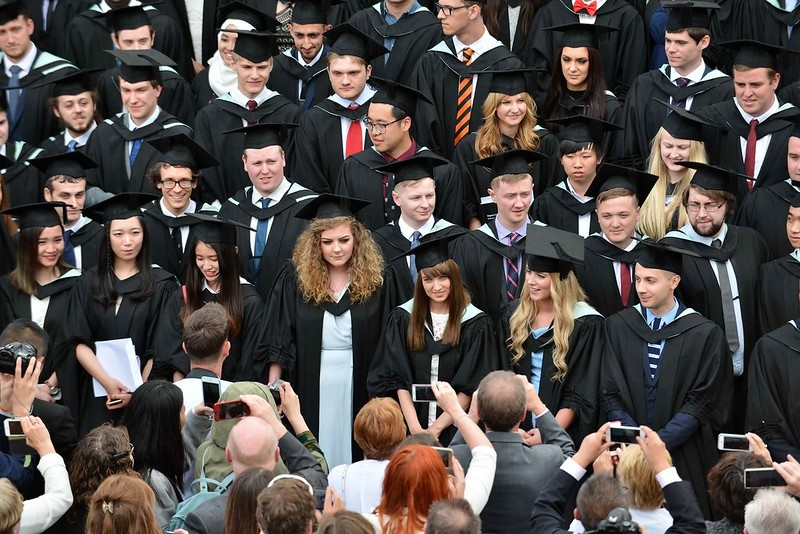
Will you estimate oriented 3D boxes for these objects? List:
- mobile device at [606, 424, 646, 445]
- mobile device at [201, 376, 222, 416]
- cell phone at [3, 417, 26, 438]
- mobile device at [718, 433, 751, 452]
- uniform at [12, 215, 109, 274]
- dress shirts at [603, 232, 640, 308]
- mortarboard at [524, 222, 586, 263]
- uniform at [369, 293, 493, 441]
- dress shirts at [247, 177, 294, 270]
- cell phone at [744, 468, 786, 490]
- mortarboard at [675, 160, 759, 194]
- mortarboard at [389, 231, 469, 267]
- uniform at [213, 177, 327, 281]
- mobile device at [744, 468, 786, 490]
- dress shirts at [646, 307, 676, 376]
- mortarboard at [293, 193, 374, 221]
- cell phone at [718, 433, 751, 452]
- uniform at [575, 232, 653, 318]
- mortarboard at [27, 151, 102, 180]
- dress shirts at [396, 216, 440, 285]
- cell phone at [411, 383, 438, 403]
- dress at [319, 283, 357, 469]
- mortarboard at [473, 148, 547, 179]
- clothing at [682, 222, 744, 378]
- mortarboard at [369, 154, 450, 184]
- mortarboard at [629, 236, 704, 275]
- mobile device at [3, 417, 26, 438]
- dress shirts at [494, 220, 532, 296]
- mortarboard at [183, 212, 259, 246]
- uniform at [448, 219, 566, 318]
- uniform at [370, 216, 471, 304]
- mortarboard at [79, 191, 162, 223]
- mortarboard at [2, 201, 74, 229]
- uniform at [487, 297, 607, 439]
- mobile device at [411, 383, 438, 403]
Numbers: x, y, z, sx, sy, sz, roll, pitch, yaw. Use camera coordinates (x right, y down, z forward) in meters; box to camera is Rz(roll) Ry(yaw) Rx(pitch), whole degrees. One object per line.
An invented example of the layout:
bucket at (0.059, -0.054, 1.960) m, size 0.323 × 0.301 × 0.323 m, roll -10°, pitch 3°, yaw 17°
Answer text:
mobile device at (1.555, 1.157, 6.427) m, size 0.235 × 0.131 × 0.258 m, roll 0°, pitch -9°, yaw 6°
mobile device at (-1.442, 0.956, 7.048) m, size 0.146 × 0.238 × 0.314 m, roll 3°, pitch -9°, yaw -12°
cell phone at (-2.767, 1.149, 6.626) m, size 0.292 × 0.140 × 0.127 m, roll -5°, pitch -10°, yaw 33°
mobile device at (2.343, 1.232, 6.488) m, size 0.199 × 0.118 × 0.221 m, roll -2°, pitch -9°, yaw 20°
uniform at (-3.697, -0.245, 10.186) m, size 0.722 × 0.922 × 0.499 m, roll -4°, pitch 0°, yaw -9°
dress shirts at (2.139, 0.001, 9.027) m, size 0.469 × 0.632 × 0.272 m, roll 5°, pitch -1°, yaw 5°
mortarboard at (1.427, -0.230, 8.524) m, size 0.516 × 0.401 × 0.313 m, roll 0°, pitch -8°, yaw 7°
uniform at (0.327, 1.093, 8.771) m, size 1.296 × 1.461 × 0.392 m, roll 5°, pitch 17°, yaw 7°
dress shirts at (-1.383, -0.557, 9.970) m, size 0.542 × 0.717 × 0.215 m, roll 1°, pitch -8°, yaw 17°
cell phone at (2.445, 1.397, 6.141) m, size 0.366 × 0.138 × 0.138 m, roll 5°, pitch -10°, yaw -28°
mortarboard at (3.043, -0.849, 8.968) m, size 0.441 × 0.157 × 0.441 m, roll 18°, pitch -3°, yaw -3°
mortarboard at (0.327, -0.154, 8.693) m, size 0.405 × 0.183 × 0.405 m, roll -21°, pitch -5°, yaw -2°
uniform at (-1.331, -0.354, 9.531) m, size 1.117 × 1.033 × 0.478 m, roll 1°, pitch -1°, yaw 6°
mobile device at (2.445, 1.397, 6.141) m, size 0.366 × 0.138 × 0.138 m, roll 5°, pitch -10°, yaw -28°
dress shirts at (2.313, 0.677, 8.195) m, size 0.379 × 0.527 × 0.208 m, roll 1°, pitch -1°, yaw 21°
mortarboard at (-0.683, -0.574, 9.249) m, size 0.511 × 0.288 × 0.621 m, roll 8°, pitch -11°, yaw -39°
cell phone at (2.343, 1.232, 6.488) m, size 0.199 × 0.118 × 0.221 m, roll -2°, pitch -9°, yaw 20°
uniform at (2.182, -0.009, 9.198) m, size 0.729 × 0.479 × 0.859 m, roll -13°, pitch -44°, yaw -1°
mortarboard at (-3.607, -1.111, 9.964) m, size 0.430 × 0.116 × 0.431 m, roll -3°, pitch -9°, yaw -13°
dress shirts at (0.164, -0.185, 9.319) m, size 0.445 × 0.607 × 0.182 m, roll -9°, pitch -3°, yaw 19°
cell phone at (0.198, 0.950, 7.023) m, size 0.119 × 0.112 × 0.314 m, roll 6°, pitch -10°, yaw -31°
dress at (-0.615, 1.160, 8.926) m, size 0.328 × 1.484 × 0.196 m, roll 2°, pitch -8°, yaw -4°
mortarboard at (1.105, -1.051, 9.310) m, size 0.425 × 0.100 × 0.425 m, roll -8°, pitch -11°, yaw 14°
clothing at (3.061, 0.315, 9.086) m, size 0.860 × 1.183 × 0.463 m, roll 1°, pitch 1°, yaw 8°
mortarboard at (0.090, -0.970, 9.383) m, size 0.451 × 0.192 × 0.435 m, roll -14°, pitch -9°, yaw 29°
mortarboard at (2.416, -0.067, 8.387) m, size 0.434 × 0.146 × 0.430 m, roll 18°, pitch -3°, yaw -33°
mobile device at (-2.771, 1.149, 6.629) m, size 0.301 × 0.140 × 0.127 m, roll -5°, pitch -10°, yaw 33°
dress shirts at (1.115, -0.063, 9.068) m, size 0.470 × 0.636 × 0.267 m, roll -1°, pitch 0°, yaw 5°
mortarboard at (-1.874, -0.377, 9.210) m, size 0.471 × 0.159 × 0.462 m, roll 11°, pitch 0°, yaw -11°
uniform at (0.918, -0.016, 9.498) m, size 1.439 × 1.401 × 0.821 m, roll -1°, pitch 3°, yaw -7°
uniform at (0.205, -0.040, 9.013) m, size 0.736 × 0.721 × 0.411 m, roll -12°, pitch -1°, yaw 6°
mortarboard at (-2.926, -0.593, 9.440) m, size 0.531 × 0.146 × 0.517 m, roll -17°, pitch -10°, yaw 19°
mortarboard at (-3.699, -0.516, 9.396) m, size 0.447 × 0.163 × 0.445 m, roll -6°, pitch 0°, yaw -13°
uniform at (1.305, 0.902, 8.014) m, size 1.150 × 1.563 × 0.652 m, roll 1°, pitch -11°, yaw 7°
mobile device at (0.196, 0.951, 7.027) m, size 0.119 × 0.112 × 0.305 m, roll 6°, pitch -10°, yaw -31°
